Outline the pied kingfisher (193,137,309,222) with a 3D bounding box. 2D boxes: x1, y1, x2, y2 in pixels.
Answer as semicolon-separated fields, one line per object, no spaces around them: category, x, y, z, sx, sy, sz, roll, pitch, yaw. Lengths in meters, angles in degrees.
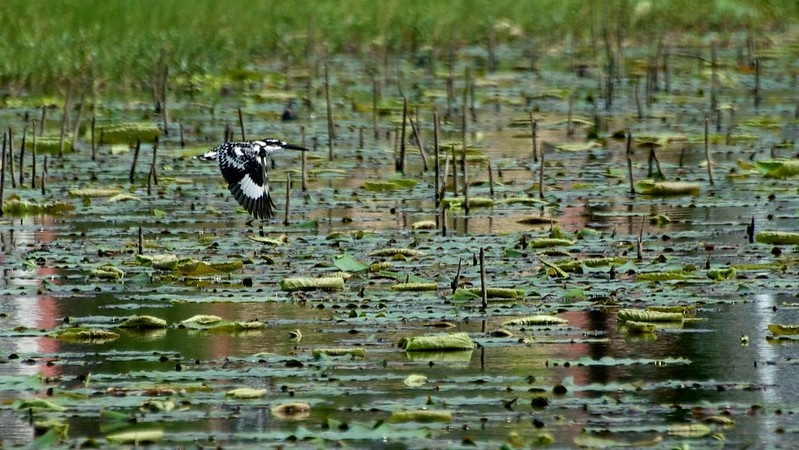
pied kingfisher;-3.402;-0.899;32.058;1.524;1.643;1.861;-1;31;-3
